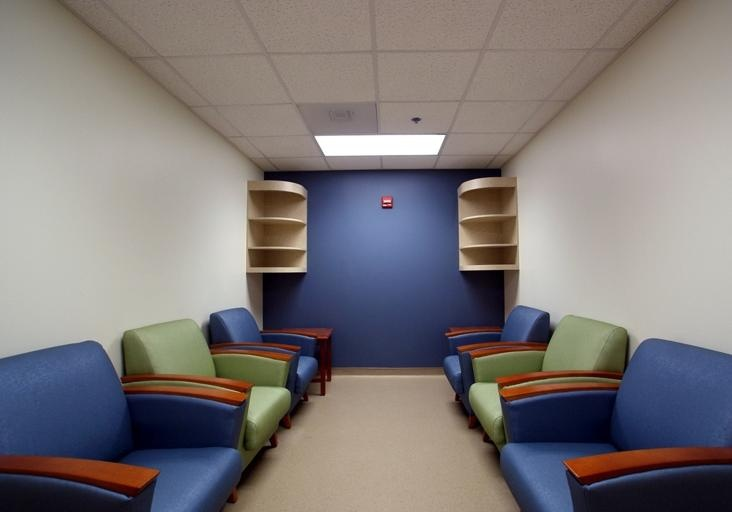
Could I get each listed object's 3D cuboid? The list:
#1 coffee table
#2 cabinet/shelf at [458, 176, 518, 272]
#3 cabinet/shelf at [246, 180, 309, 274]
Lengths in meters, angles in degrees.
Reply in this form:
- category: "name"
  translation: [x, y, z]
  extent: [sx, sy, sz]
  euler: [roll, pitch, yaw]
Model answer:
- category: "coffee table"
  translation: [-0.707, 1.211, 5.898]
  extent: [0.693, 0.740, 0.688]
  euler: [-1, 7, 0]
- category: "cabinet/shelf"
  translation: [1.486, -0.308, 6.094]
  extent: [0.861, 1.080, 0.552]
  euler: [-2, -3, 42]
- category: "cabinet/shelf"
  translation: [-1.122, -0.301, 6.215]
  extent: [0.811, 1.075, 0.599]
  euler: [1, -1, -19]
